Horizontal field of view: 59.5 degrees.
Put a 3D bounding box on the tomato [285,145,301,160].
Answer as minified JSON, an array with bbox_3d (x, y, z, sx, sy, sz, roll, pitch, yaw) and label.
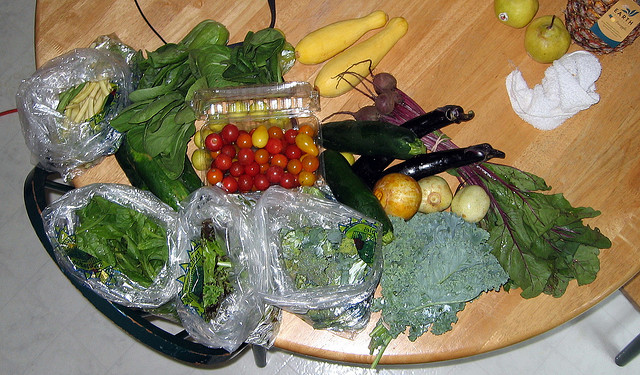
[{"bbox_3d":[-0.143,-0.186,2.972,0.070,0.073,0.086,5,13,1],"label":"tomato"}]

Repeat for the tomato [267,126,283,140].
[{"bbox_3d":[-0.240,-0.290,2.942,0.060,0.074,0.064,10,42,5],"label":"tomato"}]

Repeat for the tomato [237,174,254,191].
[{"bbox_3d":[-0.394,-0.031,2.924,0.076,0.079,0.077,1,-13,-6],"label":"tomato"}]

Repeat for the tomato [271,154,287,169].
[{"bbox_3d":[-0.214,-0.140,2.977,0.066,0.067,0.077,42,4,8],"label":"tomato"}]

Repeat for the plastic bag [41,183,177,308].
[{"bbox_3d":[-1.051,0.276,2.870,0.550,0.691,0.558,-19,41,-12],"label":"plastic bag"}]

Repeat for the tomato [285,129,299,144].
[{"bbox_3d":[-0.155,-0.273,2.942,0.062,0.068,0.075,9,-4,-5],"label":"tomato"}]

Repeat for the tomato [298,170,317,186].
[{"bbox_3d":[-0.075,-0.050,2.909,0.072,0.072,0.076,2,48,4],"label":"tomato"}]

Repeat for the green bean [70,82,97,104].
[{"bbox_3d":[-1.247,-0.501,2.937,0.032,0.123,0.022,46,0,25],"label":"green bean"}]

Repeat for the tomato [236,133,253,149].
[{"bbox_3d":[-0.400,-0.246,2.930,0.049,0.059,0.053,8,59,4],"label":"tomato"}]

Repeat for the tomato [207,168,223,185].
[{"bbox_3d":[-0.550,-0.059,2.960,0.073,0.073,0.074,34,30,-30],"label":"tomato"}]

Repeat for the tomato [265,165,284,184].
[{"bbox_3d":[-0.238,-0.072,2.960,0.078,0.094,0.082,25,56,26],"label":"tomato"}]

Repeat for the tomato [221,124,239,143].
[{"bbox_3d":[-0.470,-0.285,2.971,0.079,0.098,0.086,8,23,9],"label":"tomato"}]

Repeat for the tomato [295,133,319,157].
[{"bbox_3d":[-0.074,-0.223,2.893,0.141,0.070,0.079,39,75,5],"label":"tomato"}]

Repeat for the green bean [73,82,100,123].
[{"bbox_3d":[-1.228,-0.447,2.936,0.039,0.224,0.031,27,-1,1],"label":"green bean"}]

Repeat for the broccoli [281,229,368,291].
[{"bbox_3d":[0.030,0.336,2.824,0.378,0.317,0.185,9,35,-4],"label":"broccoli"}]

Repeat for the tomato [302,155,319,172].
[{"bbox_3d":[-0.053,-0.126,2.902,0.078,0.094,0.082,23,60,14],"label":"tomato"}]

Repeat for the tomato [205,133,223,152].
[{"bbox_3d":[-0.562,-0.236,2.955,0.081,0.087,0.081,19,-6,-22],"label":"tomato"}]

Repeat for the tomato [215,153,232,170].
[{"bbox_3d":[-0.503,-0.135,2.908,0.076,0.079,0.079,13,0,-9],"label":"tomato"}]

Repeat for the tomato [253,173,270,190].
[{"bbox_3d":[-0.309,-0.032,2.934,0.065,0.089,0.067,-15,-2,-3],"label":"tomato"}]

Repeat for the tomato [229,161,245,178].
[{"bbox_3d":[-0.441,-0.097,2.977,0.067,0.084,0.072,15,43,13],"label":"tomato"}]

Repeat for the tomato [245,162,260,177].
[{"bbox_3d":[-0.356,-0.098,2.980,0.067,0.072,0.083,7,-2,0],"label":"tomato"}]

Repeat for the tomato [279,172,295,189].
[{"bbox_3d":[-0.170,-0.038,2.973,0.070,0.073,0.076,11,2,12],"label":"tomato"}]

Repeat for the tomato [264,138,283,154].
[{"bbox_3d":[-0.243,-0.218,2.922,0.062,0.065,0.078,-26,33,-38],"label":"tomato"}]

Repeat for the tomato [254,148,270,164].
[{"bbox_3d":[-0.307,-0.168,2.973,0.070,0.085,0.075,17,57,12],"label":"tomato"}]

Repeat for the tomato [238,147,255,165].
[{"bbox_3d":[-0.389,-0.163,2.965,0.078,0.093,0.083,15,48,3],"label":"tomato"}]

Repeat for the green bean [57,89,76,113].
[{"bbox_3d":[-1.344,-0.453,2.936,0.046,0.159,0.023,30,1,-6],"label":"green bean"}]

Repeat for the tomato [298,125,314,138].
[{"bbox_3d":[-0.077,-0.294,2.915,0.057,0.062,0.068,10,-1,-12],"label":"tomato"}]

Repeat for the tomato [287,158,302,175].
[{"bbox_3d":[-0.138,-0.111,2.915,0.067,0.081,0.070,25,55,21],"label":"tomato"}]

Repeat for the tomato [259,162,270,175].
[{"bbox_3d":[-0.299,-0.105,2.951,0.052,0.055,0.065,-13,34,2],"label":"tomato"}]

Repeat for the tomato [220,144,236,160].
[{"bbox_3d":[-0.482,-0.196,2.937,0.073,0.069,0.075,20,47,-20],"label":"tomato"}]

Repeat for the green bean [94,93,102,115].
[{"bbox_3d":[-1.169,-0.440,2.940,0.024,0.133,0.019,16,-7,12],"label":"green bean"}]

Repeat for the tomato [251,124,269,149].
[{"bbox_3d":[-0.312,-0.268,2.922,0.071,0.115,0.070,6,-6,12],"label":"tomato"}]
